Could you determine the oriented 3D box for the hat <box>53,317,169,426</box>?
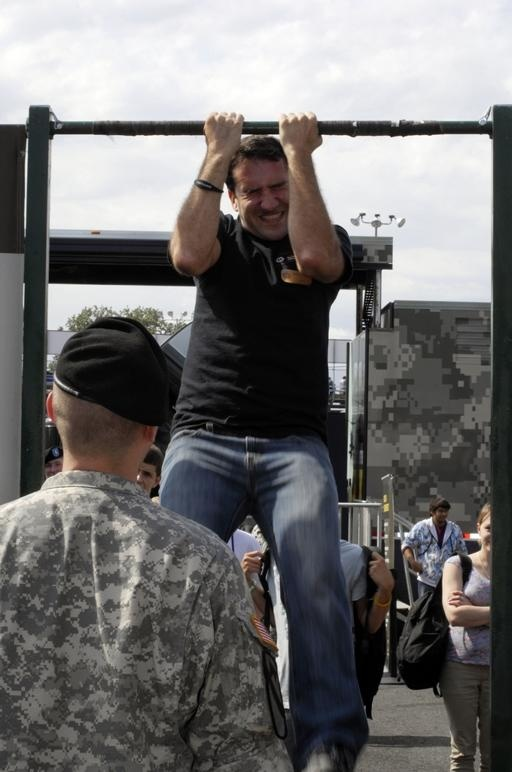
[{"bbox_3d":[-0.267,-0.025,2.298,0.147,0.160,0.222,9,-3,-14],"label":"hat"}]
